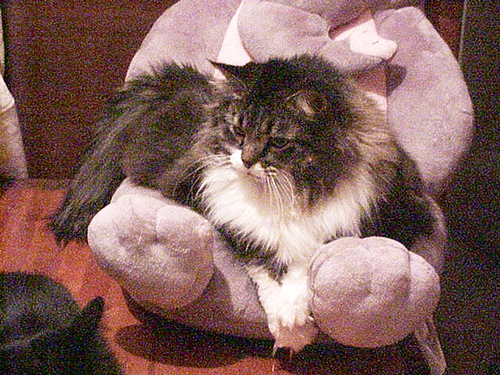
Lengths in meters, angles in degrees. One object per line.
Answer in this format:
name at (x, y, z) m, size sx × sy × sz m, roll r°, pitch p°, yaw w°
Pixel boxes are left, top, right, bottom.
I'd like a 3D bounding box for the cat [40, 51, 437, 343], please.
cat at (-0.005, -0.041, 1.320) m, size 0.711 × 0.390 × 0.458 m, roll 26°, pitch 46°, yaw 26°
